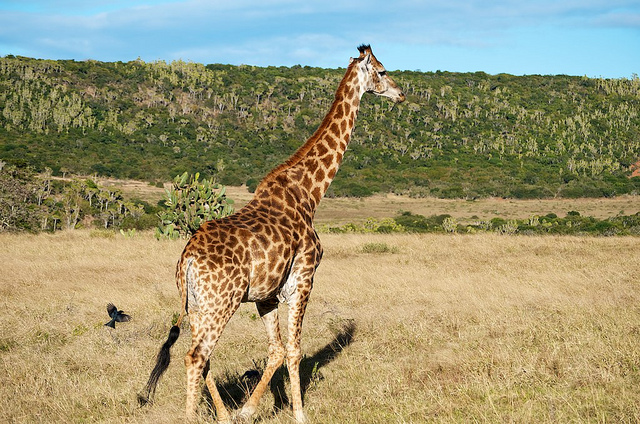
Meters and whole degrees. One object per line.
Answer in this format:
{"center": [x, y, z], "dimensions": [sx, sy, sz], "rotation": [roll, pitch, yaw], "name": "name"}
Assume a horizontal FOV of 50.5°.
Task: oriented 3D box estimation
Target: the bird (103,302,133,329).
{"center": [-6.074, 3.014, 20.508], "dimensions": [0.855, 0.393, 0.658], "rotation": [39, 37, -7], "name": "bird"}

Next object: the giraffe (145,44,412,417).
{"center": [-1.628, 0.445, 21.484], "dimensions": [6.908, 11.561, 3.931], "rotation": [1, 4, 5], "name": "giraffe"}
